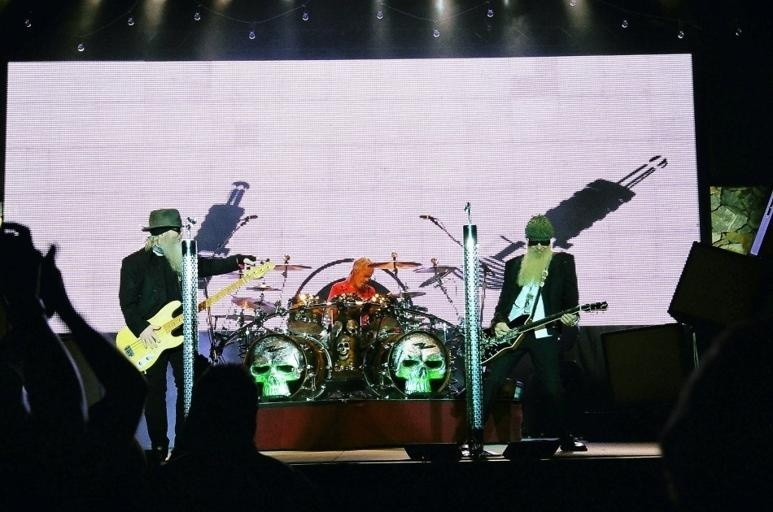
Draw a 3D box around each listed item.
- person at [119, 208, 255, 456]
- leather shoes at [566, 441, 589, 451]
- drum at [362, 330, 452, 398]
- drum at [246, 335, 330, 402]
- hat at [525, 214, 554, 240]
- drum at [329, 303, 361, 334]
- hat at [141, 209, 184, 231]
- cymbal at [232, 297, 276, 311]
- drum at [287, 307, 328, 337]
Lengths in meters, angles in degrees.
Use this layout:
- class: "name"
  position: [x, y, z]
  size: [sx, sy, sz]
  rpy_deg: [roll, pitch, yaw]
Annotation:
- class: "person"
  position: [-2.055, 0.534, 11.188]
  size: [0.994, 2.461, 0.309]
  rpy_deg: [6, -6, 5]
- class: "leather shoes"
  position: [1.652, 1.653, 10.667]
  size: [0.207, 0.049, 0.141]
  rpy_deg: [0, 1, -6]
- class: "drum"
  position: [0.214, 0.911, 11.108]
  size: [0.699, 0.519, 0.788]
  rpy_deg: [3, 4, -12]
- class: "drum"
  position: [-0.958, 1.000, 11.003]
  size: [0.834, 0.627, 0.572]
  rpy_deg: [1, -1, 5]
- class: "hat"
  position: [1.357, -0.258, 10.970]
  size: [0.267, 0.212, 0.237]
  rpy_deg: [-3, 5, -3]
- class: "drum"
  position: [-0.366, 0.584, 11.288]
  size: [0.295, 0.283, 0.254]
  rpy_deg: [2, -18, -7]
- class: "hat"
  position: [-2.036, -0.326, 11.220]
  size: [0.292, 0.094, 0.233]
  rpy_deg: [-4, 0, -34]
- class: "cymbal"
  position: [-1.298, 0.469, 12.018]
  size: [0.250, 0.072, 0.215]
  rpy_deg: [10, 2, -3]
- class: "drum"
  position: [-0.721, 0.618, 11.399]
  size: [0.351, 0.214, 0.312]
  rpy_deg: [1, -27, -2]
